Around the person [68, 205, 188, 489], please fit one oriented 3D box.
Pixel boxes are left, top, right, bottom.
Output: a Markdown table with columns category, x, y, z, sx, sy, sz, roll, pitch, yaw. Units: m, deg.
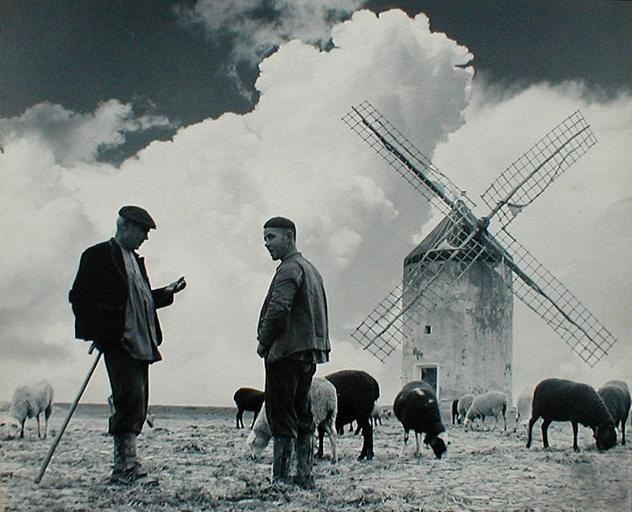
| category | x | y | z | sx | sy | sz | roll | pitch | yaw |
| --- | --- | --- | --- | --- | --- | --- | --- | --- | --- |
| person | -2.944 | 1.325 | 17.214 | 1.399 | 4.110 | 0.906 | 2 | 5 | -10 |

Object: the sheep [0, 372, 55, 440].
| category | x | y | z | sx | sy | sz | roll | pitch | yaw |
| --- | --- | --- | --- | --- | --- | --- | --- | --- | --- |
| sheep | -4.879 | 2.677 | 19.583 | 0.654 | 0.833 | 1.394 | 4 | 5 | 12 |

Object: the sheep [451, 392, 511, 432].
| category | x | y | z | sx | sy | sz | roll | pitch | yaw |
| --- | --- | --- | --- | --- | --- | --- | --- | --- | --- |
| sheep | 3.572 | 3.365 | 24.897 | 1.267 | 0.918 | 1.192 | 5 | 6 | 15 |

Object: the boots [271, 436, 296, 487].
| category | x | y | z | sx | sy | sz | roll | pitch | yaw |
| --- | --- | --- | --- | --- | --- | --- | --- | --- | --- |
| boots | -0.487 | 3.080 | 17.208 | 0.321 | 0.735 | 0.293 | 2 | 5 | -3 |

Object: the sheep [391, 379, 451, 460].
| category | x | y | z | sx | sy | sz | roll | pitch | yaw |
| --- | --- | --- | --- | --- | --- | --- | --- | --- | --- |
| sheep | 1.900 | 2.991 | 20.453 | 0.658 | 1.124 | 1.449 | 2 | 6 | -12 |

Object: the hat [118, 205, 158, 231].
| category | x | y | z | sx | sy | sz | roll | pitch | yaw |
| --- | --- | --- | --- | --- | --- | --- | --- | --- | --- |
| hat | -2.708 | -0.590 | 17.370 | 0.412 | 0.171 | 0.404 | 27 | -5 | -14 |

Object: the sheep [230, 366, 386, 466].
| category | x | y | z | sx | sy | sz | roll | pitch | yaw |
| --- | --- | --- | --- | --- | --- | --- | --- | --- | --- |
| sheep | -0.090 | 2.723 | 19.798 | 2.589 | 2.031 | 1.095 | 14 | -29 | -32 |

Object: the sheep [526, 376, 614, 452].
| category | x | y | z | sx | sy | sz | roll | pitch | yaw |
| --- | --- | --- | --- | --- | --- | --- | --- | --- | --- |
| sheep | 4.644 | 2.816 | 20.759 | 0.675 | 1.709 | 2.083 | 12 | -19 | -38 |
